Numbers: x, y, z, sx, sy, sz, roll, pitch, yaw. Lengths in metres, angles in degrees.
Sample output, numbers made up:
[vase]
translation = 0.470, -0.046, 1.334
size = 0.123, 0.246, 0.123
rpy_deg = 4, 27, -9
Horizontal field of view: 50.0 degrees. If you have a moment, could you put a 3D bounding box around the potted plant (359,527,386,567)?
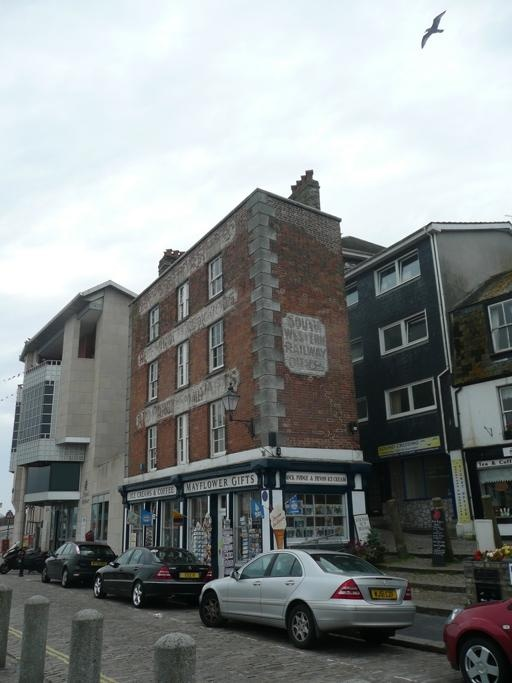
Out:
[potted plant]
translation = 3.323, 5.871, 15.555
size = 0.687, 0.925, 0.665
rpy_deg = -2, -32, 6

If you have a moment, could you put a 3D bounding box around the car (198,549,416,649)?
[car]
translation = 0.612, 3.761, 8.722
size = 1.510, 1.014, 3.235
rpy_deg = 14, -21, -34

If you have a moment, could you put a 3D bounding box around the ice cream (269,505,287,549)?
[ice cream]
translation = 0.569, 4.658, 13.817
size = 0.328, 0.994, 0.702
rpy_deg = -5, -16, 2
